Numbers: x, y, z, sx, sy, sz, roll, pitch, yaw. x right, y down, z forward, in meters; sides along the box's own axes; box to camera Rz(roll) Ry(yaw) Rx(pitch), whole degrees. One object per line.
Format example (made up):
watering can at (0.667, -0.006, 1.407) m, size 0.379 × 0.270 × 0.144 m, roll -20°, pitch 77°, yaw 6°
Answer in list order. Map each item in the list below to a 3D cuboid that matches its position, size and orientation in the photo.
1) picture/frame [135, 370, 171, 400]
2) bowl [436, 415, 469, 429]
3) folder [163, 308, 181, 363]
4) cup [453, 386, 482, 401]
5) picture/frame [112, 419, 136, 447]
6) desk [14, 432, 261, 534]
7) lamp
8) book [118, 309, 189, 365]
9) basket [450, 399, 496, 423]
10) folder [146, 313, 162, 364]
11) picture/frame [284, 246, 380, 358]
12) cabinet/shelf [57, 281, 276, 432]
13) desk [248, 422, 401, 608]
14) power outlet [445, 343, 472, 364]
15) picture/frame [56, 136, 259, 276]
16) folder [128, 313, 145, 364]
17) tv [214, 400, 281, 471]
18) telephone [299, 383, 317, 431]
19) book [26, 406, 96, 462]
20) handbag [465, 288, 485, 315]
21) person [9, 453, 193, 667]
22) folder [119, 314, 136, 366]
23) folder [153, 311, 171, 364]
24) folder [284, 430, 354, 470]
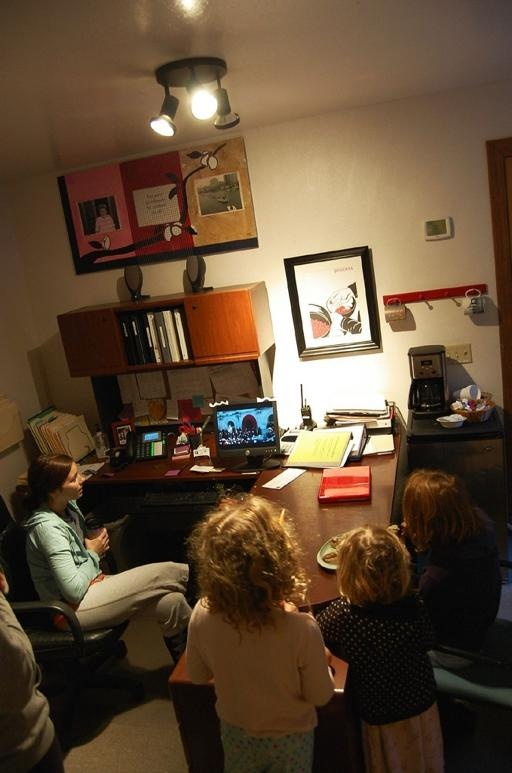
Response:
picture/frame at (-0.679, -0.007, 3.683) m, size 0.207 × 0.202 × 0.050 m, roll 0°, pitch 17°, yaw 19°
bowl at (1.052, 0.182, 2.918) m, size 0.090 × 0.031 × 0.086 m, roll -6°, pitch 14°, yaw 1°
folder at (-0.508, -0.298, 3.425) m, size 0.074 × 0.356 × 0.348 m, roll -3°, pitch -4°, yaw -9°
cup at (1.201, 0.047, 3.124) m, size 0.158 × 0.111 × 0.112 m, roll -4°, pitch -25°, yaw 26°
picture/frame at (-0.891, 0.305, 3.610) m, size 0.135 × 0.188 × 0.043 m, roll 2°, pitch -6°, yaw 3°
desk at (-0.574, 0.545, 3.700) m, size 1.586 × 0.531 × 0.842 m, roll -2°, pitch -1°, yaw 13°
lamp at (-0.241, -1.165, 2.258) m, size 0.377 × 0.254 × 0.330 m, roll -2°, pitch 22°, yaw 3°
book at (-0.563, -0.285, 3.389) m, size 0.444 × 0.451 × 0.324 m, roll -8°, pitch 5°, yaw -2°
basket at (1.185, 0.124, 2.978) m, size 0.143 × 0.067 × 0.145 m, roll 0°, pitch 12°, yaw 13°
folder at (-0.607, -0.231, 3.370) m, size 0.040 × 0.320 × 0.315 m, roll -10°, pitch -17°, yaw -8°
picture/frame at (0.482, -0.540, 3.326) m, size 0.586 × 0.702 × 0.050 m, roll -7°, pitch 15°, yaw 19°
cabinet/shelf at (-0.519, -0.070, 3.485) m, size 1.166 × 0.993 × 0.400 m, roll -6°, pitch 16°, yaw 10°
desk at (0.305, 0.636, 2.722) m, size 0.933 × 0.470 × 0.488 m, roll -17°, pitch -5°, yaw -13°
power outlet at (1.198, -0.198, 3.224) m, size 0.116 × 0.111 × 0.015 m, roll 5°, pitch 21°, yaw 23°
picture/frame at (-0.605, -1.103, 3.409) m, size 1.174 × 0.668 × 0.023 m, roll -8°, pitch 4°, yaw 8°
folder at (-0.718, -0.295, 3.311) m, size 0.105 × 0.296 × 0.234 m, roll -1°, pitch 15°, yaw 1°
tv at (-0.044, 0.277, 3.085) m, size 0.344 × 0.356 × 0.126 m, roll -4°, pitch -10°, yaw 13°
telephone at (0.332, 0.126, 3.472) m, size 0.100 × 0.314 × 0.123 m, roll -5°, pitch 37°, yaw 9°
book at (-1.218, 0.320, 3.547) m, size 0.156 × 0.339 × 0.433 m, roll -39°, pitch -30°, yaw 22°
handbag at (1.251, -0.495, 3.110) m, size 0.107 × 0.156 × 0.154 m, roll 0°, pitch -17°, yaw 31°
person at (-0.609, 0.855, 2.537) m, size 0.825 × 1.067 × 0.512 m, roll -4°, pitch 2°, yaw -11°
folder at (-0.770, -0.282, 3.332) m, size 0.051 × 0.228 × 0.222 m, roll -5°, pitch 7°, yaw -7°
folder at (-0.554, -0.292, 3.275) m, size 0.056 × 0.236 × 0.236 m, roll -8°, pitch 15°, yaw -11°
folder at (0.354, 0.348, 2.996) m, size 0.231 × 0.059 × 0.249 m, roll -4°, pitch 28°, yaw 25°
